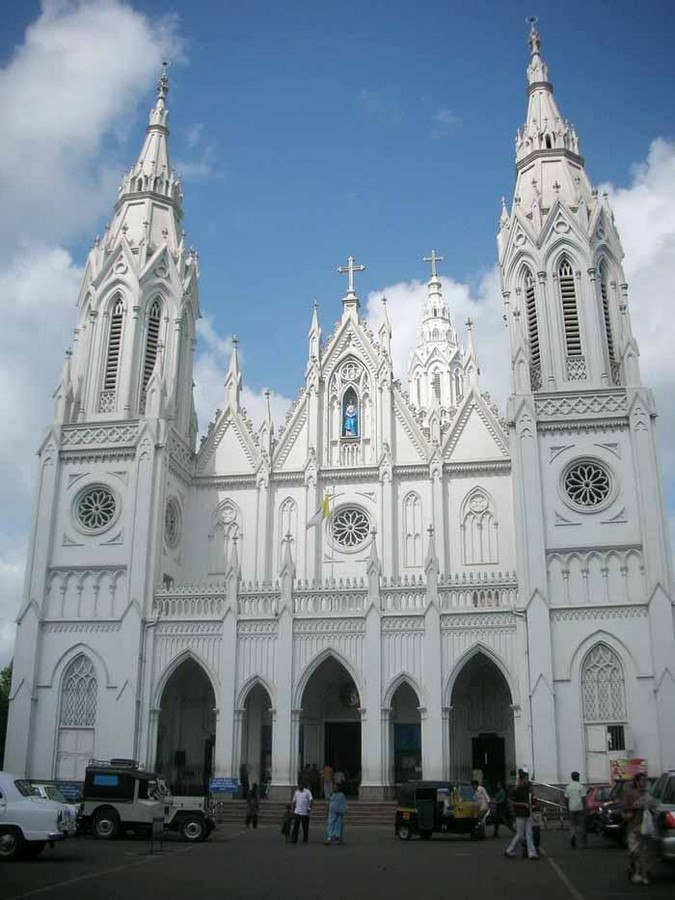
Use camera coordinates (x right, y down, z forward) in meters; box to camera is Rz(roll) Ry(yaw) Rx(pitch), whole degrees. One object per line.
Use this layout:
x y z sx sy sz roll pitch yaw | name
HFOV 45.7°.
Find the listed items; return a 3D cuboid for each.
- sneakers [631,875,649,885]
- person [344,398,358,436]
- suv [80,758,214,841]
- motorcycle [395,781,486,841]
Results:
3.311 4.724 8.787 0.203 0.089 0.194 -13 -24 31 | sneakers
0.524 -1.300 33.297 0.568 1.743 0.316 -3 -19 9 | person
-4.093 7.594 17.127 2.499 1.744 1.719 -2 -41 1 | suv
2.200 7.795 17.712 1.671 1.278 1.151 -8 19 6 | motorcycle
